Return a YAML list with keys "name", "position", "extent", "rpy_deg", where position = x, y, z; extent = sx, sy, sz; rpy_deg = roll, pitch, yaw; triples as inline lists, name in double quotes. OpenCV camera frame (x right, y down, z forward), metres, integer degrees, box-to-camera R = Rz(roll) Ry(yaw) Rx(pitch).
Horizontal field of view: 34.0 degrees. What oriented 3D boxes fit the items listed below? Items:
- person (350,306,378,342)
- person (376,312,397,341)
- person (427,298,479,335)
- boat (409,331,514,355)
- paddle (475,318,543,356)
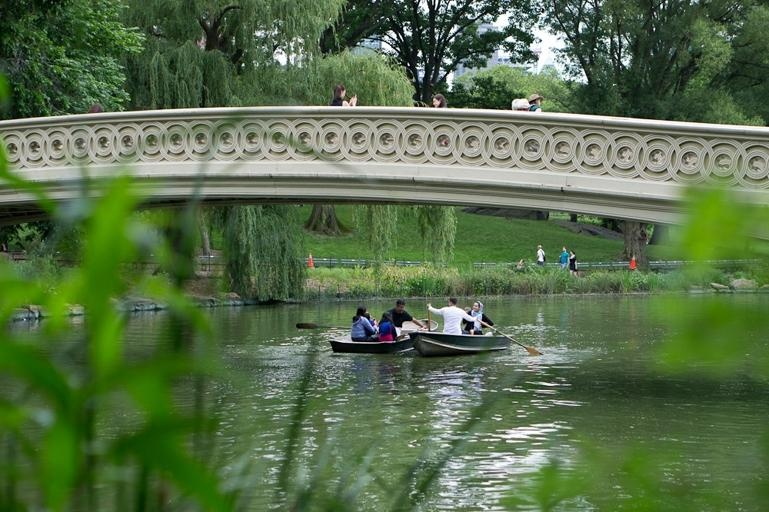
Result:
- name: "person"
  position: [-0.407, 1.689, 31.962]
  extent: [0.740, 0.958, 0.799]
  rpy_deg: [-1, 6, 14]
- name: "person"
  position: [0.118, 1.779, 31.883]
  extent: [0.540, 0.958, 0.597]
  rpy_deg: [2, 7, 13]
- name: "person"
  position: [1.833, 1.600, 32.460]
  extent: [1.297, 0.514, 1.764]
  rpy_deg: [0, -30, 6]
- name: "boat"
  position: [1.901, 2.212, 31.696]
  extent: [2.217, 0.531, 0.920]
  rpy_deg: [5, -3, -37]
- name: "paddle"
  position: [3.283, 2.172, 33.330]
  extent: [1.394, 0.166, 0.077]
  rpy_deg: [34, 48, 18]
